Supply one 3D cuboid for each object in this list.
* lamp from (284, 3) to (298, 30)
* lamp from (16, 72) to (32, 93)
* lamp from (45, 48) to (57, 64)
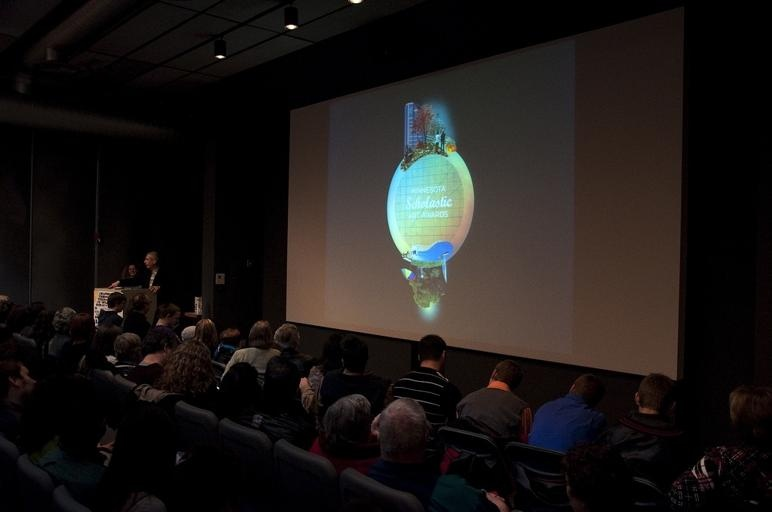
[{"bbox_3d":[-1.107,-2.809,6.531,0.136,0.215,0.260,5,-3,-5],"label":"lamp"},{"bbox_3d":[-4.970,-2.343,7.654,0.251,0.282,0.122,3,-3,24],"label":"lamp"},{"bbox_3d":[-4.205,-2.507,7.016,0.125,0.171,0.166,0,12,3],"label":"lamp"}]
